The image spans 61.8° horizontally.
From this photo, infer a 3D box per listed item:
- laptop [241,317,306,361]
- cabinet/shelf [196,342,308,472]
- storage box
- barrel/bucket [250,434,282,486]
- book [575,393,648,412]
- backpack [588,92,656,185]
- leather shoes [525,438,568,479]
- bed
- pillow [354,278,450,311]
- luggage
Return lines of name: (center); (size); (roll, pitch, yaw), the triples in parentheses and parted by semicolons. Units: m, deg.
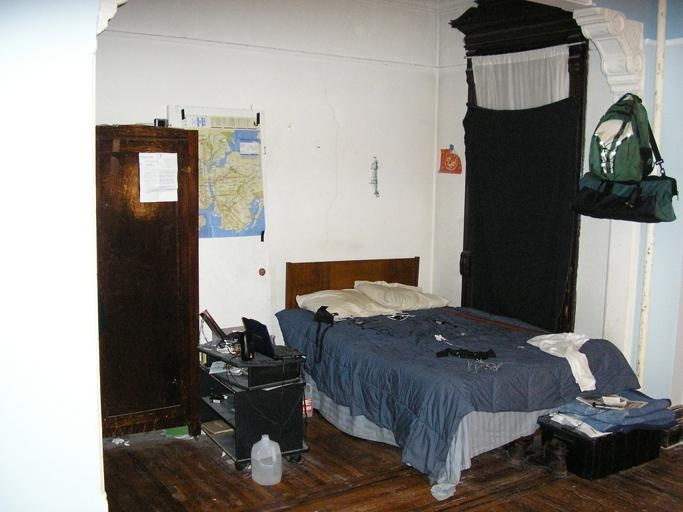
laptop: (-0.566, 0.640, 4.321); (0.331, 0.270, 0.384); (-3, 7, -33)
cabinet/shelf: (-0.715, 1.017, 4.559); (0.779, 0.916, 1.106); (-1, 5, -28)
storage box: (1.957, 1.277, 4.186); (0.651, 0.319, 0.639); (-7, 7, -32)
barrel/bucket: (-0.547, 1.459, 4.035); (0.304, 0.428, 0.231); (1, -7, -13)
book: (1.997, 1.082, 4.175); (0.209, 0.048, 0.209); (-3, 5, -31)
backpack: (2.069, -0.872, 4.202); (0.319, 0.651, 0.305); (-1, 10, -7)
leather shoes: (1.479, 1.433, 4.138); (0.142, 0.234, 0.356); (-7, 15, -26)
bed: (0.833, 0.832, 5.139); (1.952, 1.179, 2.702); (-6, 8, -29)
pillow: (0.601, 0.417, 5.783); (0.518, 0.131, 0.461); (5, 6, -27)
luggage: (1.952, 1.384, 4.165); (0.613, 0.215, 0.468); (-6, 9, -36)
